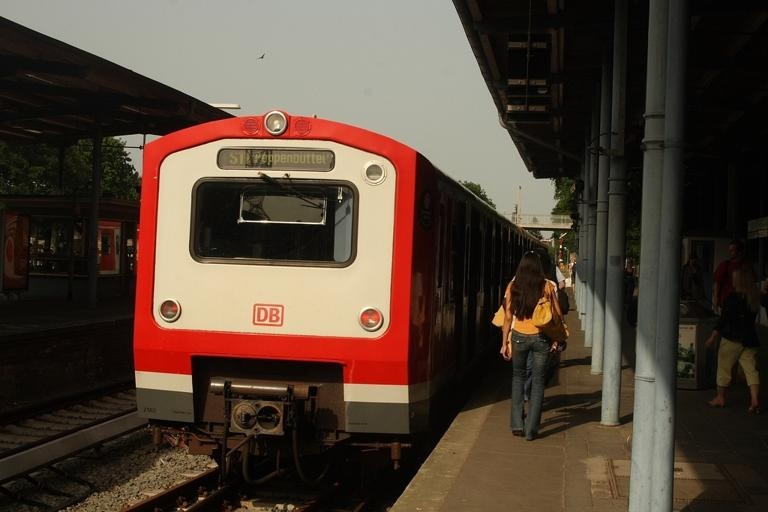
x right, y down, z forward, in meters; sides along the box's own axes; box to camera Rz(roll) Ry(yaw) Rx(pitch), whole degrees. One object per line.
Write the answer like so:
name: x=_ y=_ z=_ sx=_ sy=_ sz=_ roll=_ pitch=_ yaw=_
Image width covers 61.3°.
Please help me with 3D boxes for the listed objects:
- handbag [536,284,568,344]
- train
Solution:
handbag: x=2.117 y=0.752 z=8.226 sx=0.264 sy=0.576 sz=0.712 roll=-13 pitch=-46 yaw=20
train: x=-0.759 y=0.524 z=7.777 sx=4.228 sy=3.807 sz=2.047 roll=-2 pitch=-1 yaw=-24
